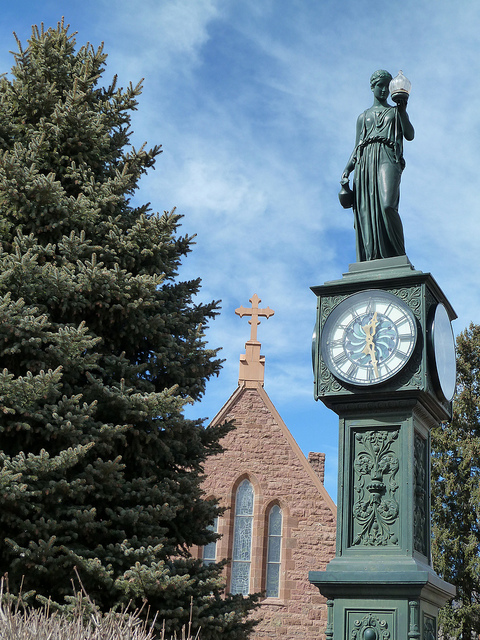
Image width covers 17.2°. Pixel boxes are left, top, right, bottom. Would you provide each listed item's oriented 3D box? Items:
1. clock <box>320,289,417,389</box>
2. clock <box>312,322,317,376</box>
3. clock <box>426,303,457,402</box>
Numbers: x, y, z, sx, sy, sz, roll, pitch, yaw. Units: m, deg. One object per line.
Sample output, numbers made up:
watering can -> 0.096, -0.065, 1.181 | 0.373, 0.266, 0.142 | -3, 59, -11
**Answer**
clock -> 1.107, 0.147, 13.642 | 0.880, 0.837, 0.279 | -7, -8, 37
clock -> 0.659, 0.272, 13.924 | 0.039, 0.395, 0.132 | -3, -6, 4
clock -> 1.772, 0.268, 13.796 | 0.165, 0.879, 0.805 | -4, -6, 16
